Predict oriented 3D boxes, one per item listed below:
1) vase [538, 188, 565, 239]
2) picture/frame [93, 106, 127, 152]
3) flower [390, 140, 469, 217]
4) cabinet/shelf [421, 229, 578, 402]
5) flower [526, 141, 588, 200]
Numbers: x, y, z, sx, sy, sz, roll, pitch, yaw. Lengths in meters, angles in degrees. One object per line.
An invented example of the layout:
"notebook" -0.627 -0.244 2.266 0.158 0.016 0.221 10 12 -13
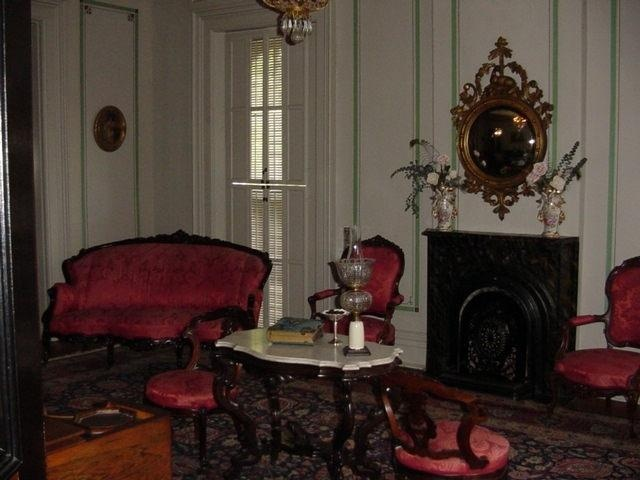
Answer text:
"vase" 1.856 -0.216 4.566 0.178 0.378 0.315 3 5 24
"picture/frame" -2.317 -1.216 6.259 0.070 0.671 0.475 5 8 39
"flower" 1.132 -0.458 5.073 0.530 0.556 0.526 9 -18 39
"cabinet/shelf" 1.485 0.594 4.540 1.300 1.278 0.438 3 3 41
"flower" 1.879 -0.539 4.534 0.437 0.491 0.354 3 5 24
